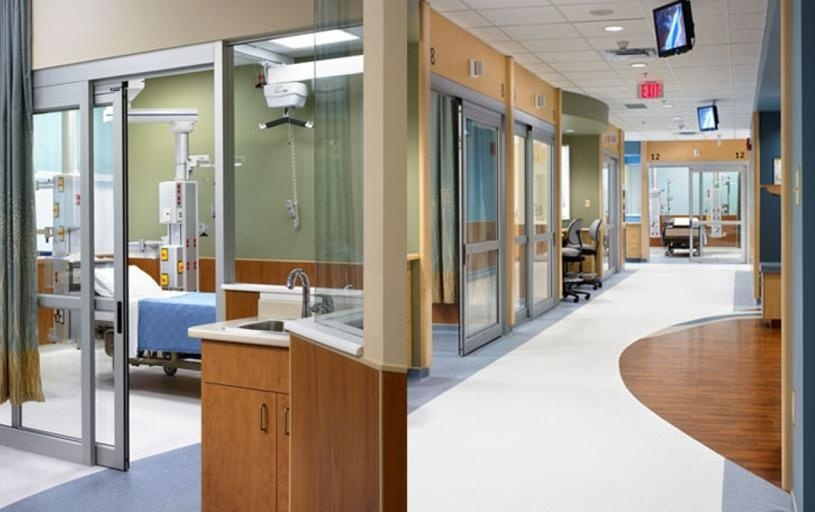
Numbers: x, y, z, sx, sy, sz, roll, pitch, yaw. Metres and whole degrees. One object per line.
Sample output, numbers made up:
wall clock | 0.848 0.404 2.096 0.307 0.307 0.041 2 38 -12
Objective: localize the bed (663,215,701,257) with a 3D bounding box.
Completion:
bed | 8.878 -0.651 21.623 1.309 1.173 1.101 -2 -1 -17

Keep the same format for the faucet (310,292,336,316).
faucet | -0.482 0.278 3.646 0.133 0.162 0.163 4 -4 -34

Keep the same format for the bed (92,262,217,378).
bed | -2.673 0.646 7.240 1.779 1.092 1.051 4 5 20
